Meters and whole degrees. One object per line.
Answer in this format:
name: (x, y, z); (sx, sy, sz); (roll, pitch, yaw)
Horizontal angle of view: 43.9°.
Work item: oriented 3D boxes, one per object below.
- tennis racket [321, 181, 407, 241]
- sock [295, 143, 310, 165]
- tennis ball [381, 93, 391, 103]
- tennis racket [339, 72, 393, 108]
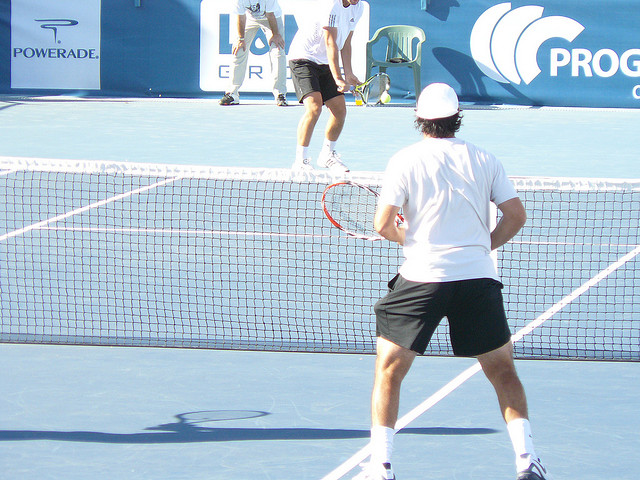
tennis racket: (0.367, -0.371, 7.427); (0.721, 1.179, 0.062); (27, 58, 12)
sock: (-0.190, -0.914, 8.517); (0.118, 0.221, 0.283); (3, 9, -3)
tennis ball: (0.732, -1.568, 8.781); (0.113, 0.072, 0.105); (0, -1, 0)
tennis racket: (0.549, -1.674, 8.844); (0.610, 0.334, 0.312); (-1, 43, 27)
